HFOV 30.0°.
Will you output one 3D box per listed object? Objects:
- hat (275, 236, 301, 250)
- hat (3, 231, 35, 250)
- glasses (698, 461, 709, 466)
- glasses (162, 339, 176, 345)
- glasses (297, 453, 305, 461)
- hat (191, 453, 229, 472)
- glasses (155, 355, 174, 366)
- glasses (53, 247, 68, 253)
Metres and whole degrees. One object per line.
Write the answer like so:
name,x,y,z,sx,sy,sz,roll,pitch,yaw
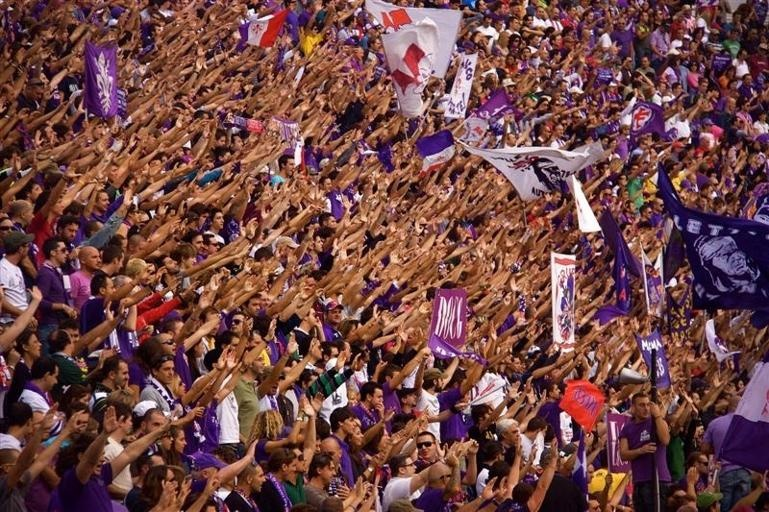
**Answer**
hat,-1.359,-0.218,20.185,0.240,0.192,0.213,33,11,25
hat,-4.542,-0.195,17.928,0.283,0.175,0.215,-18,30,-21
glasses,4.345,2.818,19.530,0.051,0.053,0.236,10,3,27
glasses,-2.555,1.038,17.373,0.079,0.057,0.343,9,3,4
glasses,-0.958,2.347,16.680,0.068,0.077,0.127,10,-6,-16
hat,-2.014,2.381,16.601,0.309,0.118,0.214,9,10,-5
glasses,-2.584,1.232,17.017,0.121,0.065,0.152,-11,-16,-40
glasses,-4.046,-0.084,18.232,0.087,0.063,0.331,9,3,-2
